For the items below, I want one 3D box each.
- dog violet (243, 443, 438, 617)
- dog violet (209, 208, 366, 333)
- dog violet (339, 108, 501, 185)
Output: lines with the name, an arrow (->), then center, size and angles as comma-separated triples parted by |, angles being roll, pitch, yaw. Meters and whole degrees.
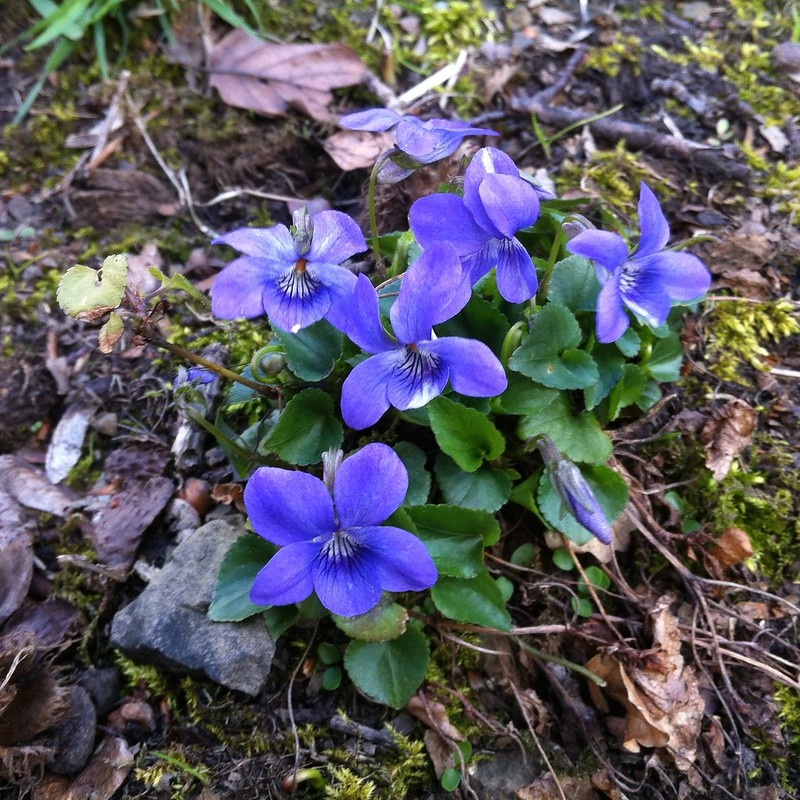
dog violet -> -0.170, 0.369, 2.247 | 0.484, 0.377, 0.378 | -4, 61, -16
dog violet -> -0.332, -0.410, 2.454 | 0.449, 0.163, 0.395 | 5, 58, -10
dog violet -> 0.067, -0.817, 2.537 | 0.337, 0.119, 0.326 | -18, 36, -23
